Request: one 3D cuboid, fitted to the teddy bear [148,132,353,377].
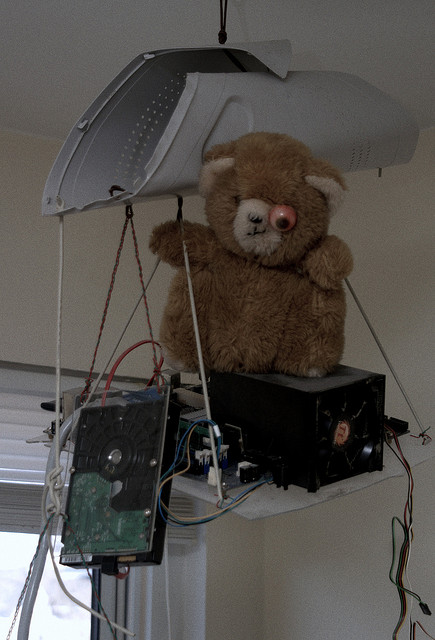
[{"bbox_3d":[0.089,-0.123,1.138,0.322,0.448,0.189,2,-7,7],"label":"teddy bear"}]
